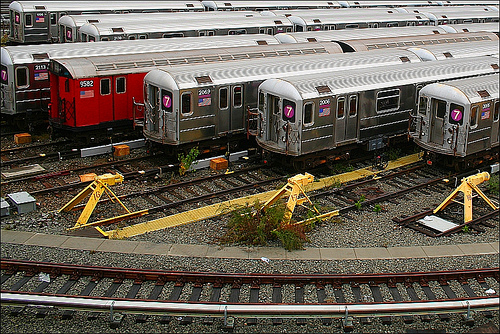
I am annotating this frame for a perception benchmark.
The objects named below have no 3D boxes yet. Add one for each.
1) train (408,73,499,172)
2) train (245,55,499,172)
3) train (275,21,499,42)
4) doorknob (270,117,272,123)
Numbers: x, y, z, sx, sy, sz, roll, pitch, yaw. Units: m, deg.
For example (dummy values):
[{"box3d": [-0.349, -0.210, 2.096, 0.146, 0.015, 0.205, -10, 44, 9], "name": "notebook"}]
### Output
[{"box3d": [9.655, -1.961, 15.081, 5.385, 2.332, 2.011, -16, 26, -36], "name": "train"}, {"box3d": [9.090, -4.206, 19.437, 20.002, 4.111, 3.809, -16, 28, -31], "name": "train"}, {"box3d": [12.298, -12.363, 29.293, 33.722, 1.432, 3.141, -9, 31, -19], "name": "train"}, {"box3d": [0.976, -2.168, 14.982, 0.105, 0.141, 0.041, 12, 34, 27], "name": "doorknob"}]
